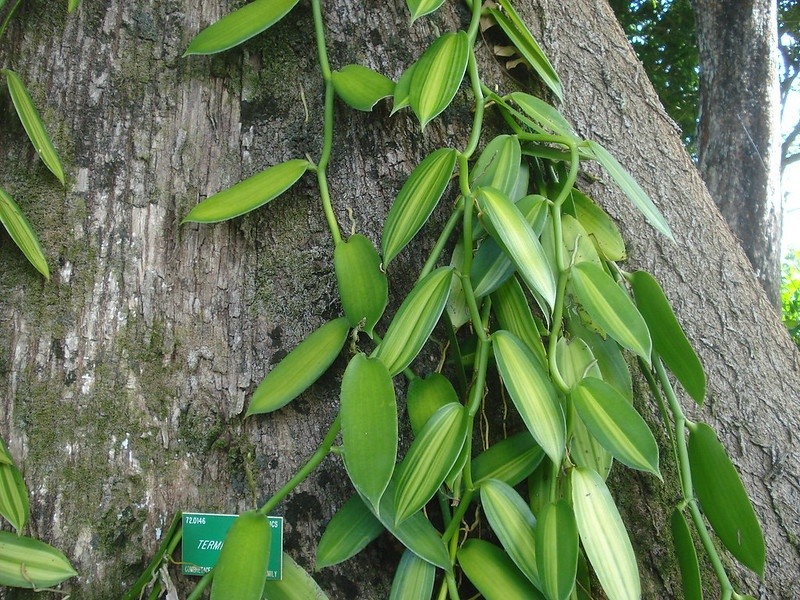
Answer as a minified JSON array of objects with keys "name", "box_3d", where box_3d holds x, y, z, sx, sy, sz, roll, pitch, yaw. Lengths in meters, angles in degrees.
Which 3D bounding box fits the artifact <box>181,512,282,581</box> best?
[{"name":"artifact","box_3d":[-0.299,0.448,1.870,0.192,0.117,0.084,5,19,9]}]
